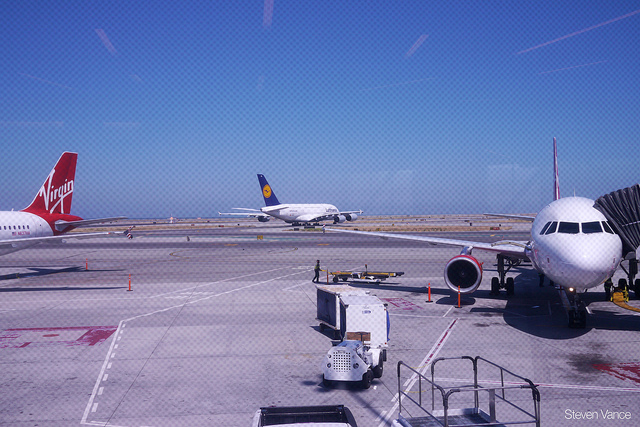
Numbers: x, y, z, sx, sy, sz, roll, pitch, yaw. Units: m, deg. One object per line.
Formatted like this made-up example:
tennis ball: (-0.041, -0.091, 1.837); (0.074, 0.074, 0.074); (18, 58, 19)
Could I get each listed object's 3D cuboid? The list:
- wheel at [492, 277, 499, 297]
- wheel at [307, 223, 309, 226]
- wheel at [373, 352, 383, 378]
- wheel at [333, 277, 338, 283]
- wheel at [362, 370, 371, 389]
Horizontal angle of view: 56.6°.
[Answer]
wheel: (13.076, 5.516, 44.372); (0.529, 1.086, 1.261); (-5, -15, 9)
wheel: (-2.793, 2.346, 128.868); (0.173, 0.484, 0.622); (3, -2, 15)
wheel: (3.009, 7.745, 30.572); (0.365, 1.155, 1.098); (1, 5, 18)
wheel: (1.331, 5.719, 51.379); (0.351, 0.350, 0.397); (-1, -5, 3)
wheel: (2.258, 8.194, 29.309); (0.332, 0.782, 0.949); (-9, -17, 31)
